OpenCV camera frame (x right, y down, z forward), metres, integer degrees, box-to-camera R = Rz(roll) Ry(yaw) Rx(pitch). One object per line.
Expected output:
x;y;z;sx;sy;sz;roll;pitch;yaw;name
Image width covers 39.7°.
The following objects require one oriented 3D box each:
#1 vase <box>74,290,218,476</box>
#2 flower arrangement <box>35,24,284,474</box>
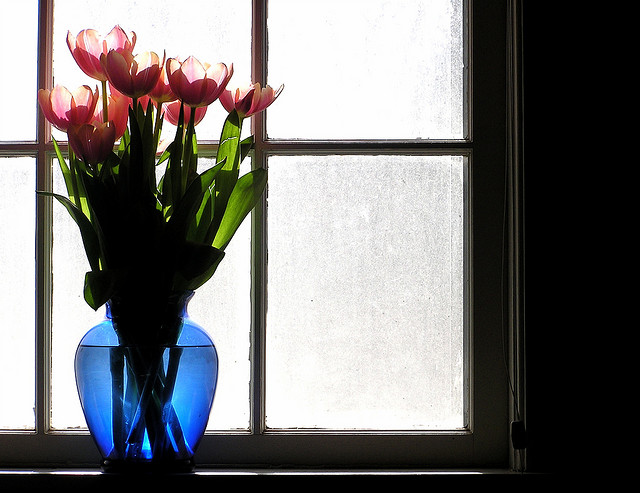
-0.288;0.264;1.723;0.246;0.398;0.290;-1;-11;-3;vase
-0.332;0.023;1.705;0.344;0.817;0.372;3;-9;-28;flower arrangement
